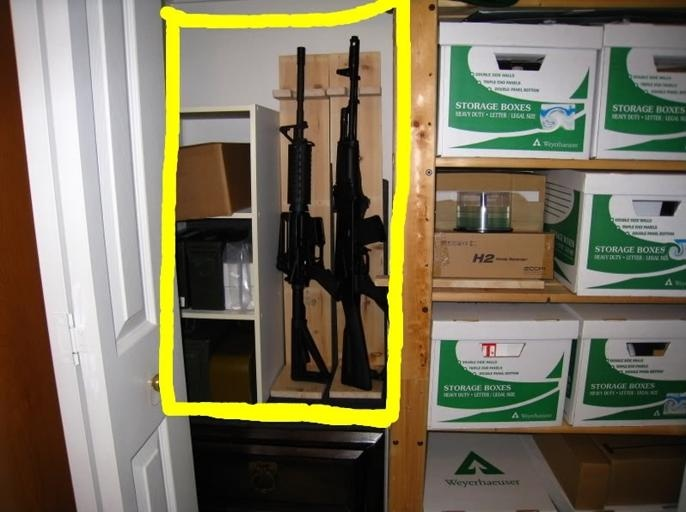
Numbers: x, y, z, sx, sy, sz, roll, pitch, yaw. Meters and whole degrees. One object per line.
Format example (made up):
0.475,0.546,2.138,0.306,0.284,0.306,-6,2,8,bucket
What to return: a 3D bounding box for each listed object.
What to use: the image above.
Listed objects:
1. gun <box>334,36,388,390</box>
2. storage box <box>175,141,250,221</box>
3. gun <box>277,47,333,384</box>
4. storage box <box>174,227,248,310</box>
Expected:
0.057,-0.145,2.304,0.201,1.305,0.250,-2,14,3,gun
-0.466,-0.293,2.417,0.241,0.296,0.441,-2,21,6,storage box
-0.100,-0.147,2.529,0.360,1.320,0.220,4,11,18,gun
-0.582,0.038,2.558,0.187,0.260,0.349,-4,13,-9,storage box
